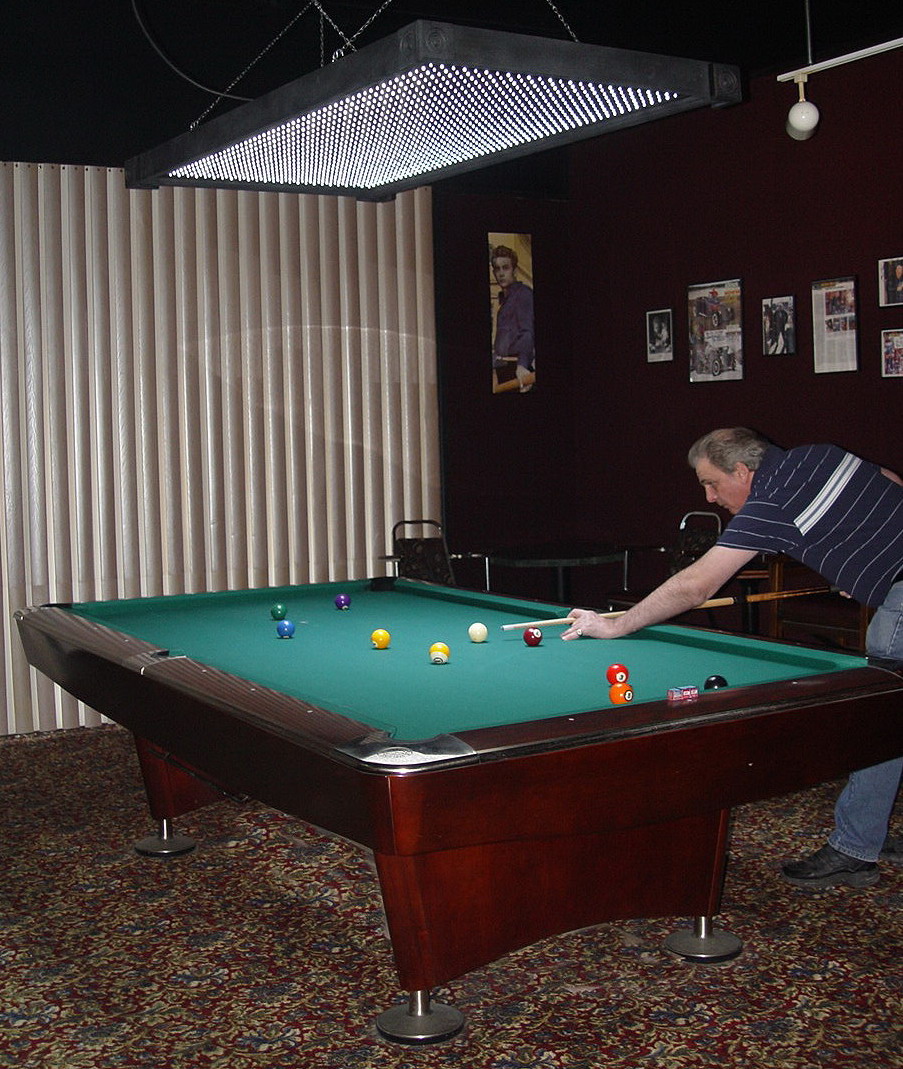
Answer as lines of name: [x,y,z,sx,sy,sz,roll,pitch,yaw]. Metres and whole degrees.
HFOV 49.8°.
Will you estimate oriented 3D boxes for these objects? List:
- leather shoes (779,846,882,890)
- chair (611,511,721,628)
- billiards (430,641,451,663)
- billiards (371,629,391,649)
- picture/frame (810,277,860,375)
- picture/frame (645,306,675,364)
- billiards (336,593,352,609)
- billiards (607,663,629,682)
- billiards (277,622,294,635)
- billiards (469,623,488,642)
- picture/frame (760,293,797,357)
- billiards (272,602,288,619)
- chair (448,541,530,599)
leather shoes: [0.957,0.851,2.492,0.250,0.102,0.099,2,-4,-1]
chair: [1.242,0.116,5.297,0.587,0.727,0.524,4,-3,-17]
billiards: [-0.025,0.271,2.217,0.043,0.043,0.039,-7,39,8]
billiards: [-0.170,0.259,2.415,0.041,0.038,0.051,-2,-1,39]
picture/frame: [1.806,-0.984,4.568,0.036,0.430,0.236,-5,4,-28]
picture/frame: [1.167,-1.112,5.447,0.033,0.304,0.205,-5,5,-29]
billiards: [-0.342,0.221,3.139,0.047,0.043,0.045,-20,34,-30]
billiards: [0.306,0.257,1.811,0.036,0.035,0.034,2,-11,-5]
billiards: [-0.441,0.251,2.614,0.035,0.037,0.037,-4,8,-35]
billiards: [0.070,0.249,2.450,0.045,0.044,0.043,0,-3,11]
picture/frame: [1.622,-1.032,4.825,0.045,0.289,0.194,-4,4,-25]
billiards: [-0.517,0.224,2.898,0.051,0.052,0.045,-4,43,-15]
chair: [0.156,0.189,5.643,0.407,0.336,0.296,0,-1,-37]
